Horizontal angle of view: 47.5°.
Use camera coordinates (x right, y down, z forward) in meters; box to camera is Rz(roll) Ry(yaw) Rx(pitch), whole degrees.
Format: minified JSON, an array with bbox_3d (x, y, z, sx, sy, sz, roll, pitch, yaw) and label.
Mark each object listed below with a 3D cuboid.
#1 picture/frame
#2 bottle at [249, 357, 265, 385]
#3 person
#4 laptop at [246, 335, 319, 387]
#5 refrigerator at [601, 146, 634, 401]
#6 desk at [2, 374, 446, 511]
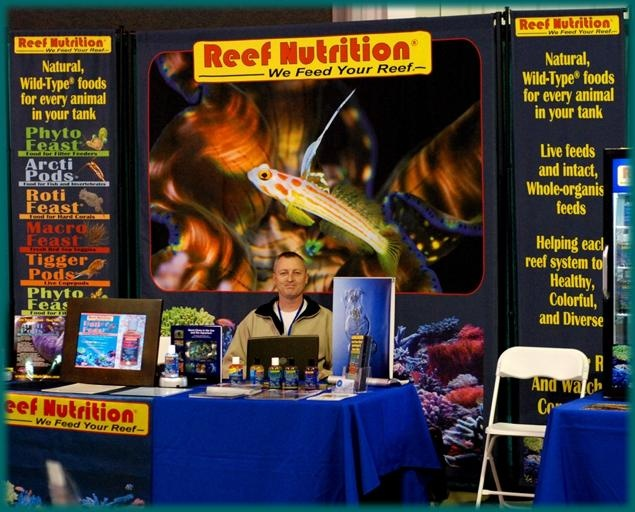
[{"bbox_3d":[-1.254,0.538,4.391,0.649,0.575,0.027,1,-3,21],"label":"picture/frame"},{"bbox_3d":[-0.358,0.699,4.269,0.098,0.191,0.104,0,-7,0],"label":"bottle"},{"bbox_3d":[-0.185,0.425,5.516,1.136,1.153,0.697,0,-6,9],"label":"person"},{"bbox_3d":[-0.205,0.567,4.297,0.362,0.274,0.255,0,-5,3],"label":"laptop"},{"bbox_3d":[1.766,0.109,4.240,0.213,1.459,0.222,-2,-4,5],"label":"refrigerator"},{"bbox_3d":[-0.551,1.055,4.138,1.552,0.472,0.965,0,-4,13],"label":"desk"}]
